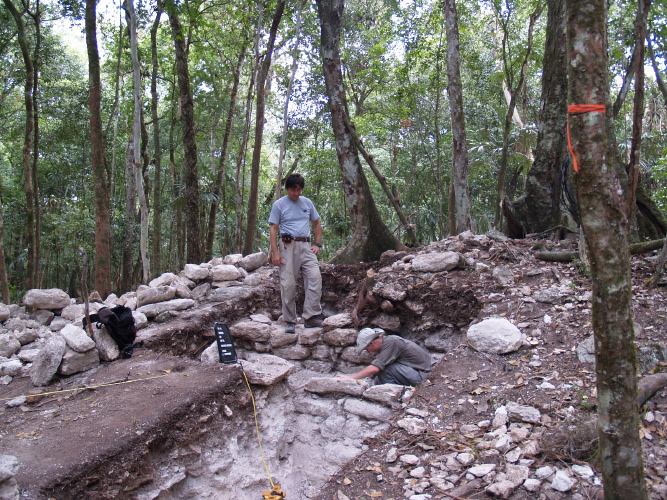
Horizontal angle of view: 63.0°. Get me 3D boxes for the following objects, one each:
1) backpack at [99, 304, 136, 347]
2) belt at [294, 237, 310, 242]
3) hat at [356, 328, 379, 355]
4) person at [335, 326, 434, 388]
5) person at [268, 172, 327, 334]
[{"bbox_3d":[-3.165,1.119,8.080,0.441,0.651,0.233,-5,-3,-36],"label":"backpack"},{"bbox_3d":[-0.492,-0.172,8.805,0.104,0.075,0.324,-5,1,33],"label":"belt"},{"bbox_3d":[0.500,1.355,8.259,0.153,0.351,0.245,34,22,-6],"label":"hat"},{"bbox_3d":[0.836,1.837,8.357,1.366,1.328,0.856,-5,-13,8],"label":"person"},{"bbox_3d":[-0.584,0.061,8.872,0.851,2.443,0.707,-4,1,-10],"label":"person"}]
